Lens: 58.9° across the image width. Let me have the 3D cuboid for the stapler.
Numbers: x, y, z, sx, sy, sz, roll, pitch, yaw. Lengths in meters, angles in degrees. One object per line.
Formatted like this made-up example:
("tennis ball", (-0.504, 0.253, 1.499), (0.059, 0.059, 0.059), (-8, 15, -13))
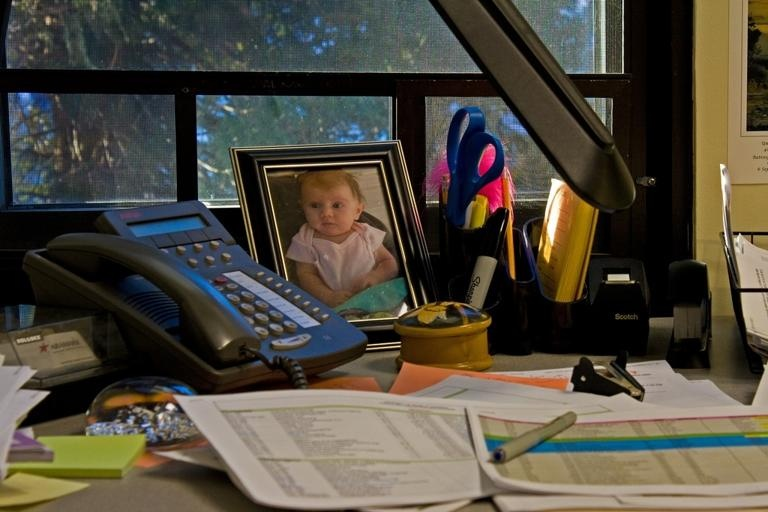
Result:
("stapler", (0.300, 0.166, 0.924), (0.090, 0.059, 0.088), (7, 14, 12))

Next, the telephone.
("telephone", (-0.271, -0.023, 1.100), (0.507, 0.255, 0.451), (-14, 18, -42))

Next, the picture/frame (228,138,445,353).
("picture/frame", (-0.080, -0.018, 1.161), (0.330, 0.369, 0.034), (-4, -13, -29))

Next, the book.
("book", (-0.346, 0.224, 0.763), (0.065, 0.010, 0.047), (0, 5, -2))
